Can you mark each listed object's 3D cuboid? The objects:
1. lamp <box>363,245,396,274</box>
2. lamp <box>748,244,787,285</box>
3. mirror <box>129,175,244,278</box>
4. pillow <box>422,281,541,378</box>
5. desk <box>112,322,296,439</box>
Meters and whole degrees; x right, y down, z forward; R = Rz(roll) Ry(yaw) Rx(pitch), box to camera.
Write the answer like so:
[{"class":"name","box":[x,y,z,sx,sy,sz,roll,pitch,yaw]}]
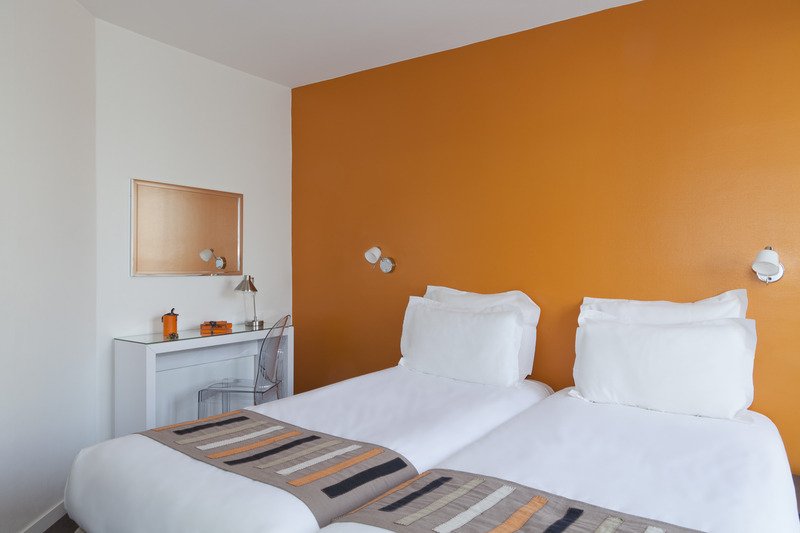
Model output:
[{"class":"lamp","box":[-0.183,-0.058,4.582,0.290,0.239,0.089,-1,3,34]},{"class":"lamp","box":[2.218,0.007,3.302,0.222,0.230,0.219,8,-11,34]},{"class":"mirror","box":[-1.744,-0.261,4.503,0.307,0.818,0.997,6,4,36]},{"class":"pillow","box":[0.719,0.432,3.882,0.677,0.668,0.199,5,-3,27]},{"class":"desk","box":[-1.497,0.844,3.960,0.275,0.721,0.863,-3,-3,35]}]
